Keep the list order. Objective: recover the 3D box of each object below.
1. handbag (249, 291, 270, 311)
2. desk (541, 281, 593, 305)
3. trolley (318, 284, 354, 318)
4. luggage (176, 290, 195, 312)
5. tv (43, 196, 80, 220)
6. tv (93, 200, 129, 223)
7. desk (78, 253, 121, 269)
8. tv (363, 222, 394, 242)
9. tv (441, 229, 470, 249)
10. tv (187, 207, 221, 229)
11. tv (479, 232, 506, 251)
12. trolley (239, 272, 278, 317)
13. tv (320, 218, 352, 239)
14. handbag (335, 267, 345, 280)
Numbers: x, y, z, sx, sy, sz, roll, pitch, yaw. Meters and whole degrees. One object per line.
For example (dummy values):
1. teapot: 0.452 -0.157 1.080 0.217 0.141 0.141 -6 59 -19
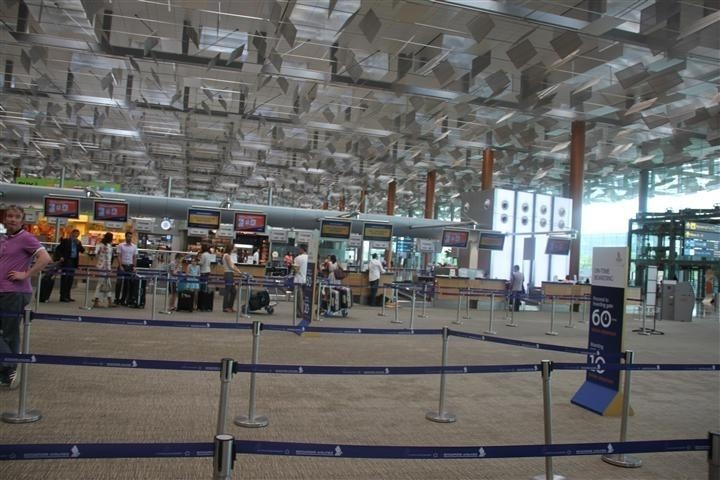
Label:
1. handbag: -3.149 1.964 19.267 0.790 0.559 0.585 8 -5 -29
2. desk: 8.674 2.185 25.090 2.652 1.000 1.287 1 -4 -6
3. trolley: -0.825 2.087 20.313 1.062 0.836 0.915 -5 -11 -25
4. luggage: -5.559 1.947 19.236 0.522 0.661 0.488 4 -4 -19
5. tv: -11.408 -1.238 23.007 1.281 0.692 0.160 2 -4 -26
6. tv: -10.004 -1.139 24.154 1.164 0.623 0.129 2 4 -17
7. desk: -8.910 0.755 20.662 0.767 0.403 0.365 2 -13 -6
8. tv: 0.808 -0.349 27.038 1.125 0.549 0.162 2 3 -7
9. tv: 4.421 -0.076 27.845 1.515 0.797 0.389 4 -5 -31
10. tv: -6.642 -0.914 25.663 1.160 0.617 0.140 2 4 -5
11. tv: 6.037 0.032 27.352 1.200 0.772 0.556 2 -4 -2
12. trolley: -3.297 1.770 19.250 1.093 1.052 1.159 -3 -7 40
13. tv: -1.044 -0.473 25.937 1.228 0.693 0.186 0 -2 -20
14. handbag: -0.787 1.342 23.761 0.310 0.523 0.610 -14 -11 29
